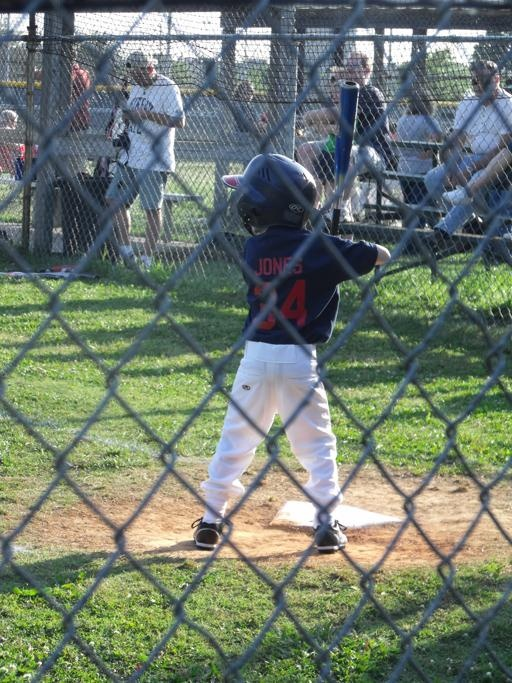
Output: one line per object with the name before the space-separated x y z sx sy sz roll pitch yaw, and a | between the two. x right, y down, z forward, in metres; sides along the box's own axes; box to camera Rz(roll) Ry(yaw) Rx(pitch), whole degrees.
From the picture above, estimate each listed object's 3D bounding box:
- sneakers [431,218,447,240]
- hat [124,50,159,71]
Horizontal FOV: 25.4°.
sneakers | 1.223 -0.742 7.554 0.086 0.116 0.151 -1 -19 0
hat | -0.805 -1.920 7.801 0.180 0.126 0.152 7 14 -10
